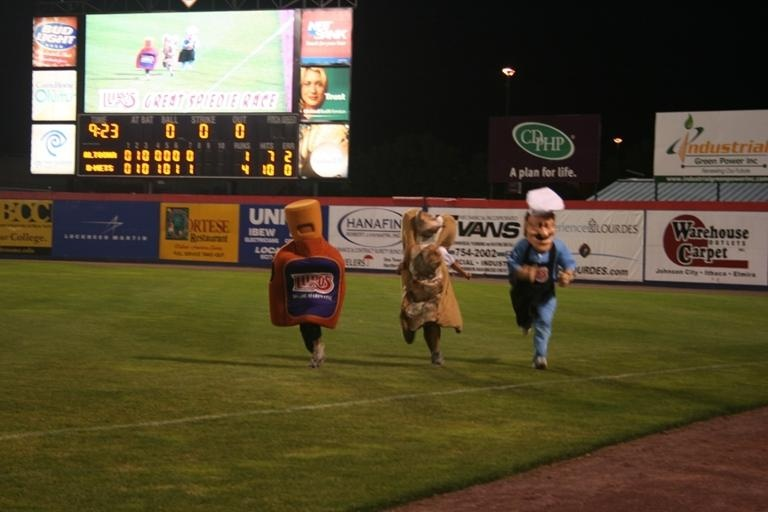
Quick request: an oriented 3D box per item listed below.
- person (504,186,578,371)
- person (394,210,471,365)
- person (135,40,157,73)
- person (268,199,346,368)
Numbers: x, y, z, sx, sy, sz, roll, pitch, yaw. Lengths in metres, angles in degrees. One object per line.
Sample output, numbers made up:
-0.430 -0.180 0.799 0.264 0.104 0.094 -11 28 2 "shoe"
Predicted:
2.140 0.309 11.708 0.722 2.380 0.673 10 13 40 "person"
0.643 0.441 11.774 0.875 2.094 0.708 2 10 0 "person"
-7.937 -6.685 29.029 0.678 1.117 0.411 6 11 26 "person"
-0.986 0.099 11.205 0.950 1.612 0.453 1 10 -3 "person"
